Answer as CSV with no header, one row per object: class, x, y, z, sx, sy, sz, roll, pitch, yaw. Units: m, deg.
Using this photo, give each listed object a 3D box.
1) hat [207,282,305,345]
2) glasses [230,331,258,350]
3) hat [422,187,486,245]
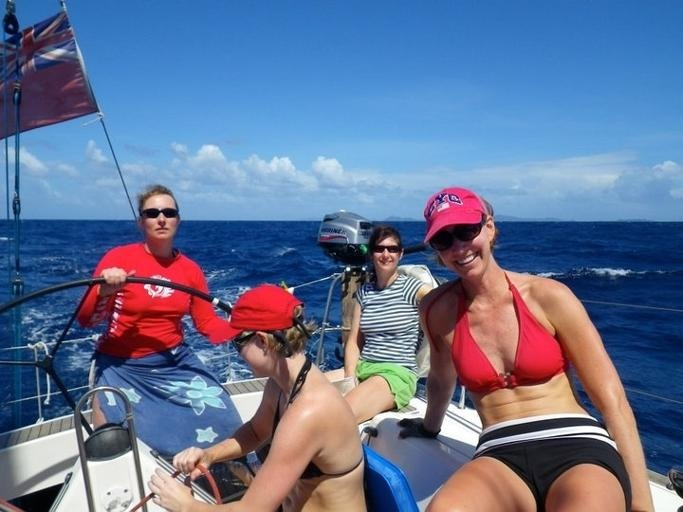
hat,-0.403,0.268,2.413,0.405,0.189,0.244,-2,2,0
glasses,-0.469,0.407,2.382,0.110,0.031,0.112,-8,6,16
hat,0.580,-0.186,2.521,0.307,0.209,0.432,-23,-4,31
